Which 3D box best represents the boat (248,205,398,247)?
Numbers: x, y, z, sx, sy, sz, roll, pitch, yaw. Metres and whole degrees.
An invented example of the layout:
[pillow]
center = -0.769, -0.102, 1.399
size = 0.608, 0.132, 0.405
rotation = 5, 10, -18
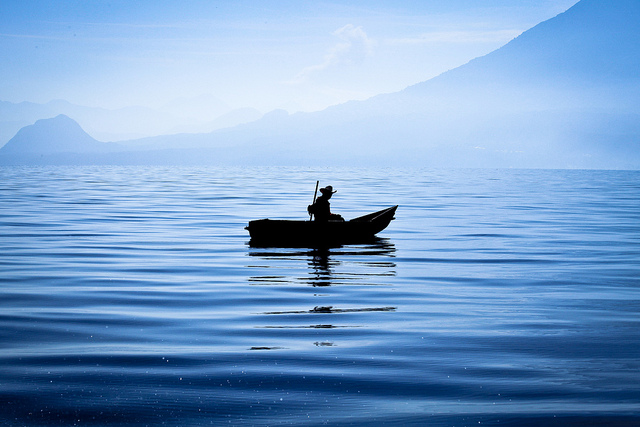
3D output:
[boat]
center = -0.150, 0.476, 37.097
size = 6.610, 1.289, 1.730
rotation = -1, -4, -9
